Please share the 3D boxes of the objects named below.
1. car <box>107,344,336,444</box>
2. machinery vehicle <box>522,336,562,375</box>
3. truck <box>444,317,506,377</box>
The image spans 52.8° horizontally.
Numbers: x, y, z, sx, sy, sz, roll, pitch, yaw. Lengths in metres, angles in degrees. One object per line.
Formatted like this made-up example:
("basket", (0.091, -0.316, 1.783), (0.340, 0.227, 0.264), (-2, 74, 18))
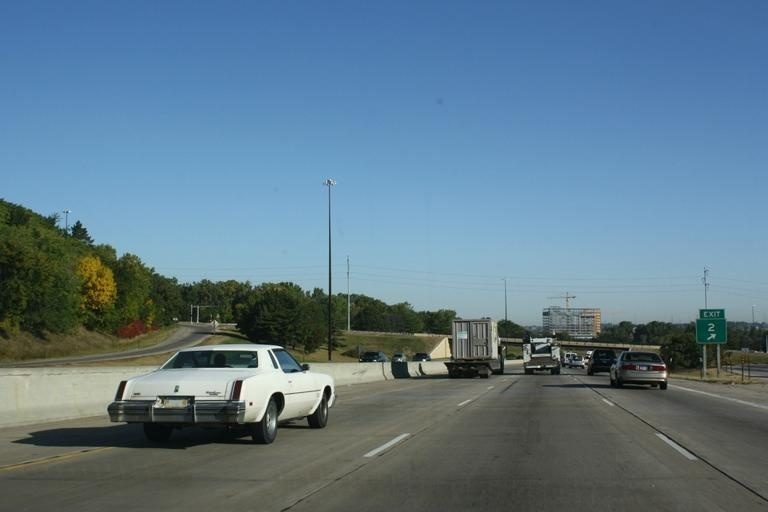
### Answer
("car", (-3.480, 3.245, 18.120), (2.424, 2.284, 5.180), (-7, -11, 43))
("machinery vehicle", (11.869, 7.713, 58.805), (2.717, 2.808, 4.581), (-2, -7, 10))
("truck", (5.932, 5.831, 50.268), (3.777, 3.894, 6.692), (0, -2, 13))
